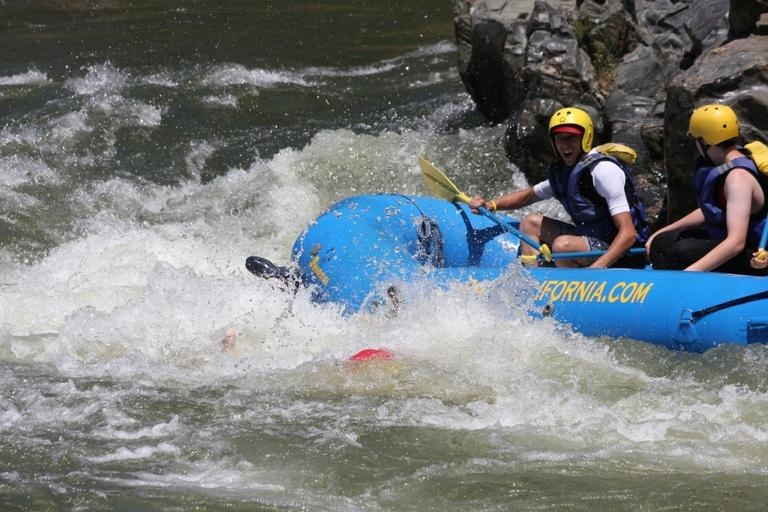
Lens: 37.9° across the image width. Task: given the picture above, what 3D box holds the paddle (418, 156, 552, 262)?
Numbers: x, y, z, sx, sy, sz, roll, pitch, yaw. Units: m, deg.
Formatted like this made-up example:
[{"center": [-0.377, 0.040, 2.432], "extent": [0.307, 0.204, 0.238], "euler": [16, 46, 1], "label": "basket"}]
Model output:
[{"center": [1.127, -0.538, 12.540], "extent": [1.885, 0.239, 0.360], "euler": [34, -5, 7], "label": "paddle"}]

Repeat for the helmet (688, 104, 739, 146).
[{"center": [3.299, -1.327, 11.164], "extent": [0.381, 0.351, 0.474], "euler": [-11, 21, -22], "label": "helmet"}]

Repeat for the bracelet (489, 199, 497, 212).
[{"center": [1.217, -0.564, 12.330], "extent": [0.097, 0.032, 0.096], "euler": [16, 37, 13], "label": "bracelet"}]

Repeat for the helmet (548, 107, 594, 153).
[{"center": [2.012, -1.352, 11.843], "extent": [0.419, 0.378, 0.531], "euler": [-19, -1, 35], "label": "helmet"}]

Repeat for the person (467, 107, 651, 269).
[{"center": [1.988, -0.716, 11.793], "extent": [1.471, 1.671, 0.937], "euler": [3, 12, 24], "label": "person"}]
